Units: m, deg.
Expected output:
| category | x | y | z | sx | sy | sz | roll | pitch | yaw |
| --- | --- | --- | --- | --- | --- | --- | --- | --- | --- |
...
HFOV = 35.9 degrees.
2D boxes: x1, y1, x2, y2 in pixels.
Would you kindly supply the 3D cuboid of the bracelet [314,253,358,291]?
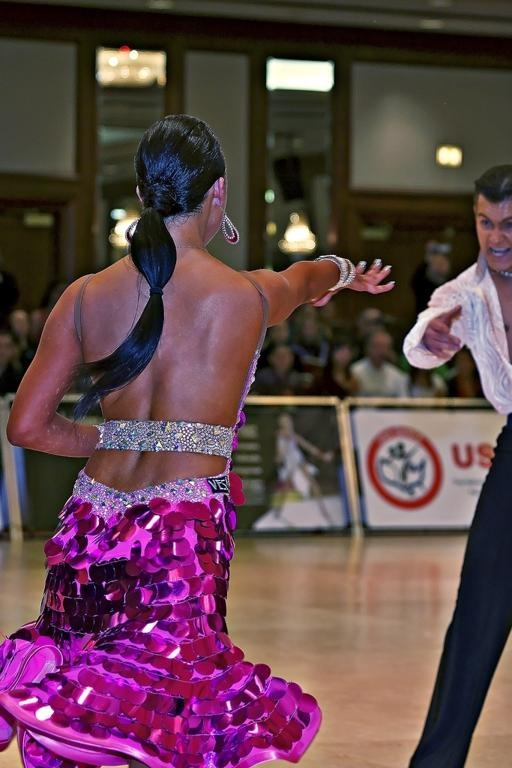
| category | x | y | z | sx | sy | sz | roll | pitch | yaw |
| --- | --- | --- | --- | --- | --- | --- | --- | --- | --- |
| bracelet | 0.142 | -0.202 | 1.440 | 0.070 | 0.031 | 0.075 | 13 | -2 | -23 |
